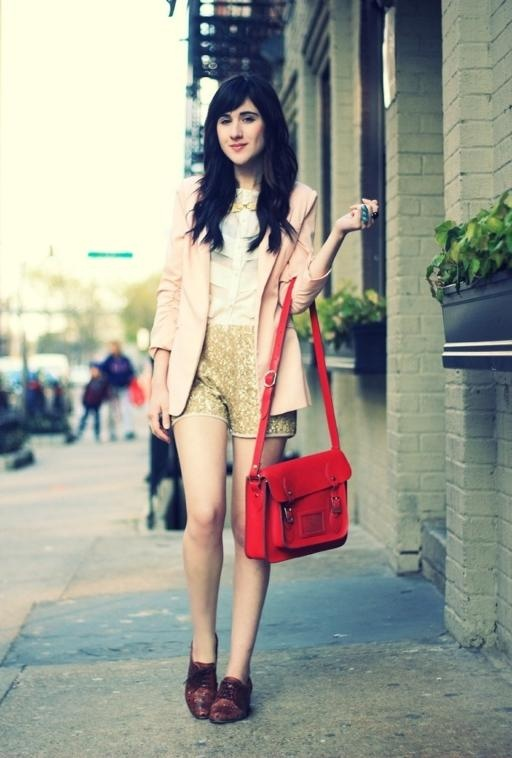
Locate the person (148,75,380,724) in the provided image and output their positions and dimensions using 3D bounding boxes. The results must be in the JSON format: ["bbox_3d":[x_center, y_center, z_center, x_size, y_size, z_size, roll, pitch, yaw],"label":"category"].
[{"bbox_3d":[-0.043,0.041,2.869,0.566,1.953,0.403,-1,0,-8],"label":"person"}]

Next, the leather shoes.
[{"bbox_3d":[-0.117,0.915,2.843,0.211,0.211,0.183,0,1,28],"label":"leather shoes"}]

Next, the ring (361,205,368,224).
[{"bbox_3d":[0.314,-0.473,2.688,0.025,0.058,0.027,-1,1,0],"label":"ring"}]

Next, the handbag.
[{"bbox_3d":[0.138,0.378,2.781,0.353,0.303,0.078,-1,1,-33],"label":"handbag"}]
